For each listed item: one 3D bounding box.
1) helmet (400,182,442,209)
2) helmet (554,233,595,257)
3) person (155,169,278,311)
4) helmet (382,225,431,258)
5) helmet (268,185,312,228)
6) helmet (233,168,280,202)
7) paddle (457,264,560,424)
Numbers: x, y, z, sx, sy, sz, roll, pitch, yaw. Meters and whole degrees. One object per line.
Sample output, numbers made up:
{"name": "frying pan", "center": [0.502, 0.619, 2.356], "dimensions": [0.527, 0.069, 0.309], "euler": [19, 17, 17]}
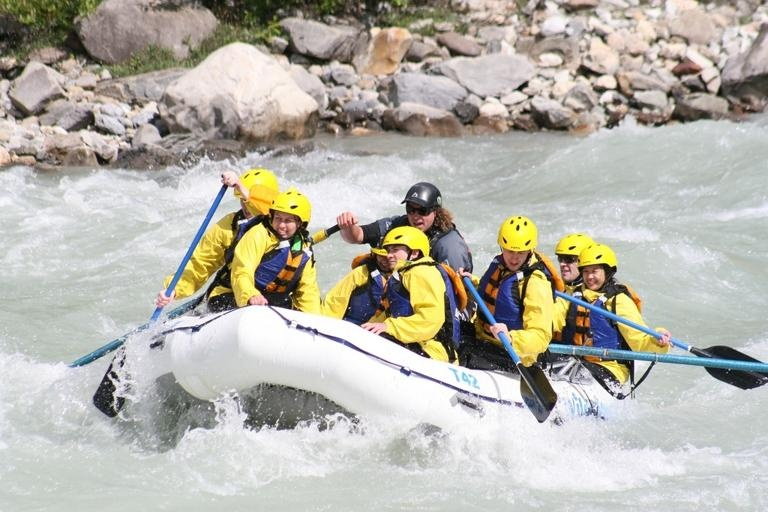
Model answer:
{"name": "helmet", "center": [0.626, -0.945, 17.532], "dimensions": [0.539, 0.423, 0.249], "euler": [19, -10, 9]}
{"name": "helmet", "center": [2.962, -0.160, 17.647], "dimensions": [0.502, 0.248, 0.344], "euler": [14, 3, -10]}
{"name": "person", "center": [-2.497, -0.333, 17.424], "dimensions": [1.226, 2.667, 0.740], "euler": [31, 0, 14]}
{"name": "helmet", "center": [0.318, -0.220, 16.935], "dimensions": [0.590, 0.404, 0.420], "euler": [-7, 8, -21]}
{"name": "helmet", "center": [-1.368, -0.820, 17.143], "dimensions": [0.472, 0.603, 0.529], "euler": [26, 35, 4]}
{"name": "helmet", "center": [-1.945, -1.031, 17.618], "dimensions": [0.578, 0.455, 0.412], "euler": [36, 28, -15]}
{"name": "paddle", "center": [1.854, 1.361, 16.951], "dimensions": [0.681, 3.061, 0.222], "euler": [-39, -30, 10]}
